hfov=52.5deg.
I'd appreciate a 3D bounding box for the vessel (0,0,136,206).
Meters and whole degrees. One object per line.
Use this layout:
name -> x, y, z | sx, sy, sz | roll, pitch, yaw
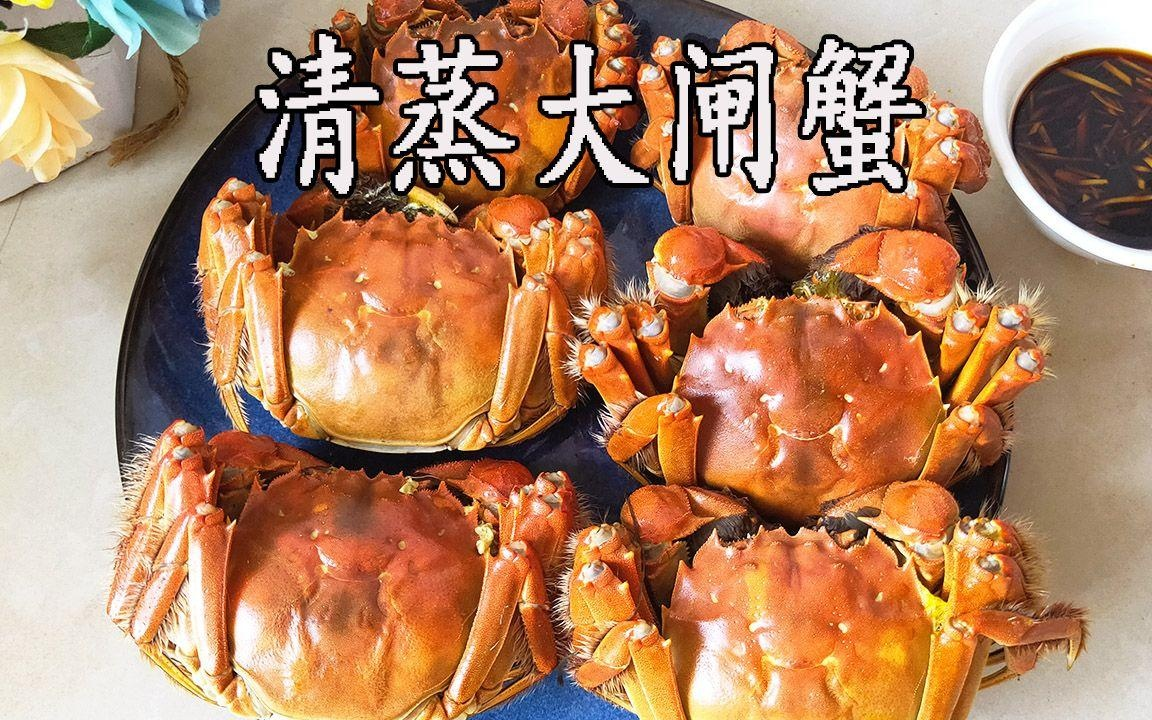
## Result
vessel -> -1.152, -0.597, 2.647 | 0.327, 0.229, 0.388 | -25, 11, -6
